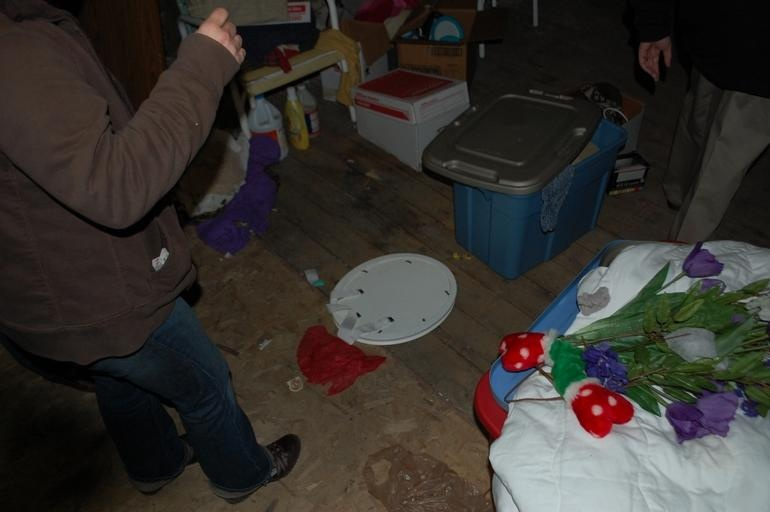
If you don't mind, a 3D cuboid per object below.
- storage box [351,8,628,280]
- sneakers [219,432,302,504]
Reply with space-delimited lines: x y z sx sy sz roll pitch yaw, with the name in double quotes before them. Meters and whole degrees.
"storage box" 0.514 -0.422 2.684 1.004 0.727 0.719 -38 48 -17
"sneakers" -0.452 0.763 2.182 0.355 0.153 0.143 -35 77 -20
